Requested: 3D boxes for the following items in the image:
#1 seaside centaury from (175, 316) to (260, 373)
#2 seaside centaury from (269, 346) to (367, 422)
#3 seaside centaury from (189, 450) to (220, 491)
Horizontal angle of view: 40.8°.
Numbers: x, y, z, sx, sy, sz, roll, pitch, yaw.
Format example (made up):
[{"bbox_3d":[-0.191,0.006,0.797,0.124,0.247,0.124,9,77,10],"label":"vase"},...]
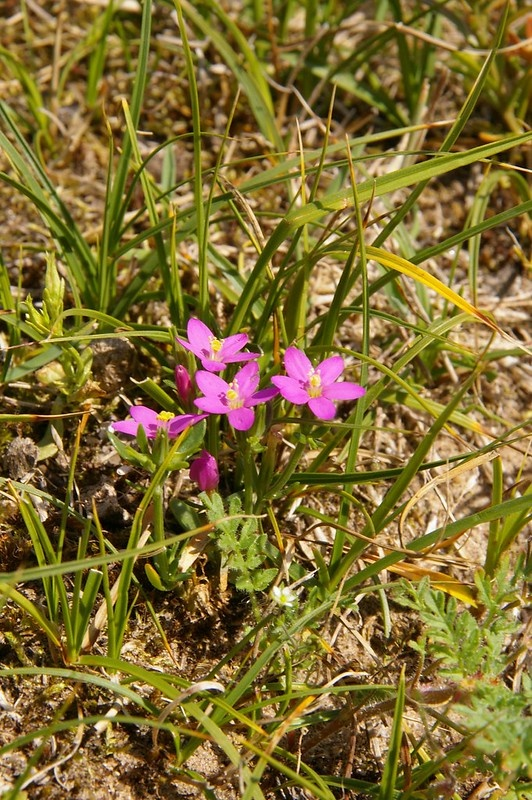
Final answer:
[{"bbox_3d":[-0.135,-0.130,1.891,0.217,0.192,0.096,16,69,-40],"label":"seaside centaury"},{"bbox_3d":[0.126,-0.038,1.830,0.189,0.215,0.067,0,67,17],"label":"seaside centaury"},{"bbox_3d":[-0.155,0.172,1.846,0.076,0.141,0.102,5,57,-12],"label":"seaside centaury"}]
